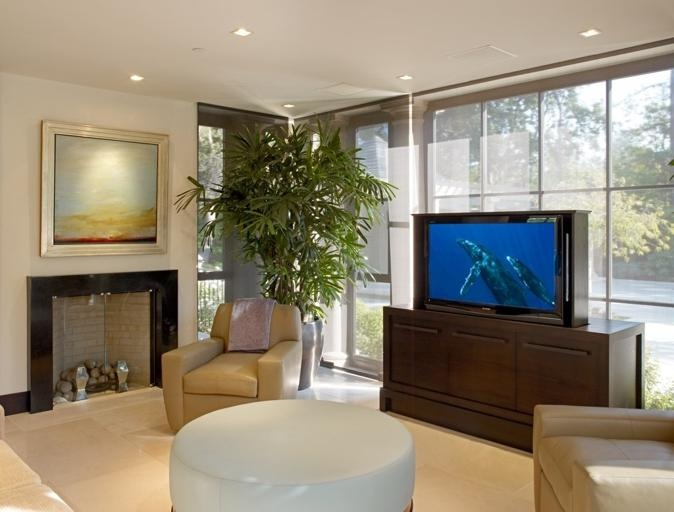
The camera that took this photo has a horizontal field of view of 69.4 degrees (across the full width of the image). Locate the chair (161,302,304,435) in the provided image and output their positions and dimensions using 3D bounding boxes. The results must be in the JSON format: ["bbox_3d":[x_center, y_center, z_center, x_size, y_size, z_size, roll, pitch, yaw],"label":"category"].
[{"bbox_3d":[-0.815,0.954,4.302,1.161,0.991,1.044,-2,-10,9],"label":"chair"}]

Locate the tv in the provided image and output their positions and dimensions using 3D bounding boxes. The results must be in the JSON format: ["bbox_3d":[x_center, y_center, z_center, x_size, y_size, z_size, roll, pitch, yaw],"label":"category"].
[{"bbox_3d":[1.296,0.131,3.808,1.037,0.606,0.071,0,3,41],"label":"tv"}]

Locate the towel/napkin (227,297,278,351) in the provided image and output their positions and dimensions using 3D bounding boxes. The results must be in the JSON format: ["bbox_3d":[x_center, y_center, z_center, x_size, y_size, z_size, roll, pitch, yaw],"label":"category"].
[{"bbox_3d":[-0.785,0.622,4.368,0.425,0.432,0.122,1,-14,5],"label":"towel/napkin"}]
